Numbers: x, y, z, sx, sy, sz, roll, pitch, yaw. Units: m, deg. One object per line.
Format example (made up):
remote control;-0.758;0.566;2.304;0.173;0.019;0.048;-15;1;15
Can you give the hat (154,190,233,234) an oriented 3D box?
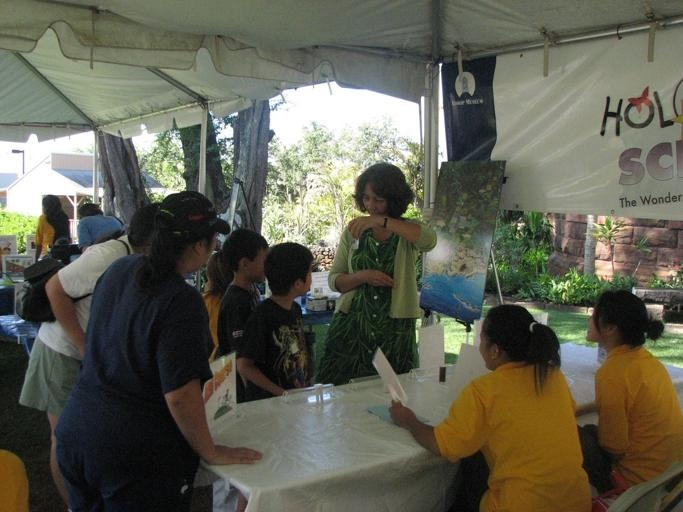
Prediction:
hat;-0.614;-0.168;2.205;0.218;0.120;0.158;-10;24;-40

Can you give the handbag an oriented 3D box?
handbag;-1.653;0.210;3.048;0.270;0.527;0.415;6;-8;-28

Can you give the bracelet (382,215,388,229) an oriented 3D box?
bracelet;0.253;-0.191;3.108;0.024;0.059;0.021;2;10;5
